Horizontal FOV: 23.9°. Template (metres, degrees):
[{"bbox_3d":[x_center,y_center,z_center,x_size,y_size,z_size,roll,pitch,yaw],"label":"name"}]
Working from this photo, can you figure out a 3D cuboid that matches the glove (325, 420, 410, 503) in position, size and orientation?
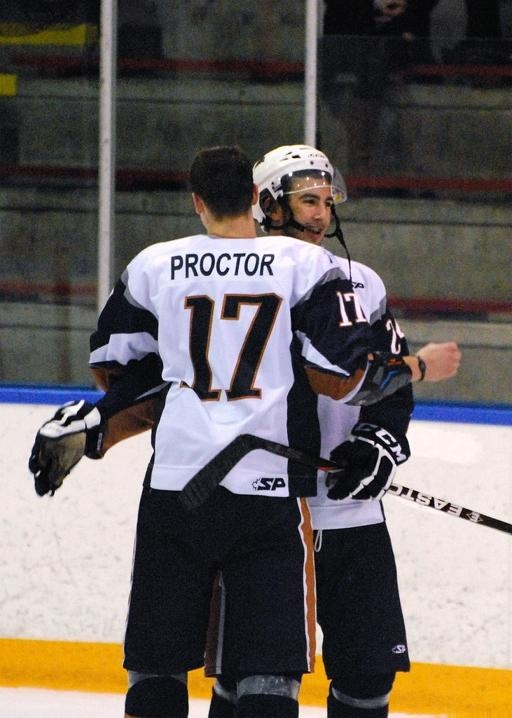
[{"bbox_3d":[0.262,0.265,2.938,0.169,0.193,0.081,38,-22,14],"label":"glove"}]

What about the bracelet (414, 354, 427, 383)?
[{"bbox_3d":[0.409,0.020,3.038,0.016,0.050,0.056,-9,20,-13],"label":"bracelet"}]

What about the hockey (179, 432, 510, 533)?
[{"bbox_3d":[0.234,0.323,3.099,0.590,0.014,0.154,17,46,-18],"label":"hockey"}]
